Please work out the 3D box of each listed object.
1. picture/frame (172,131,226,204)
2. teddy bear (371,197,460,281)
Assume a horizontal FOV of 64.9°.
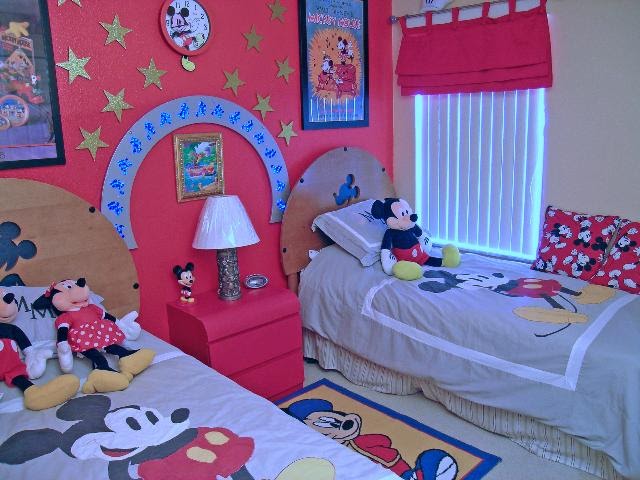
[{"bbox_3d":[-0.753,-0.445,3.084,0.032,0.445,0.365,12,20,41],"label":"picture/frame"},{"bbox_3d":[0.609,-0.011,3.407,0.516,0.527,0.476,-20,20,-32],"label":"teddy bear"}]
